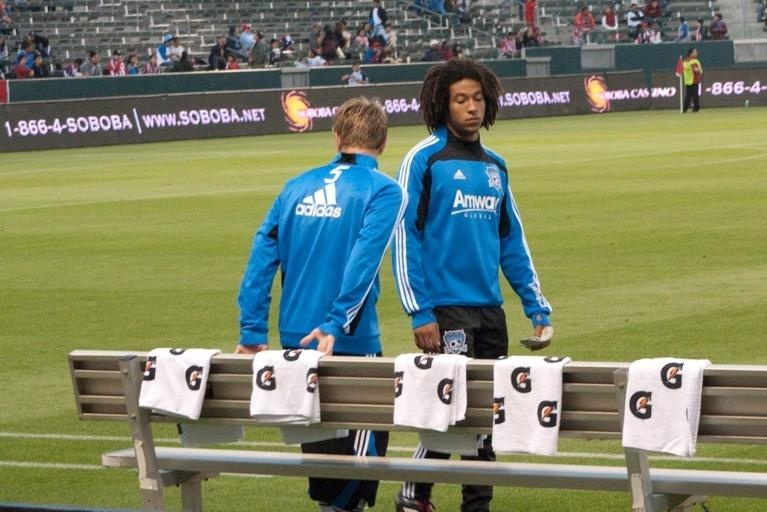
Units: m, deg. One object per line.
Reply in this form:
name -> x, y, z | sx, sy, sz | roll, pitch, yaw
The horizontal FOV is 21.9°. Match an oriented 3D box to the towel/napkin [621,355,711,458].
towel/napkin -> 4.892, 2.610, 34.764 | 1.560, 1.636, 0.577 | 3, 6, 5

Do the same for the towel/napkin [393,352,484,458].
towel/napkin -> 0.787, 2.544, 34.728 | 1.844, 1.647, 0.643 | 2, -4, 2

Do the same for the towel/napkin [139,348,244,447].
towel/napkin -> -3.652, 2.514, 35.959 | 1.879, 1.698, 0.635 | 9, -4, 1

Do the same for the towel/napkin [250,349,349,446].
towel/napkin -> -1.686, 2.496, 35.248 | 1.456, 1.694, 0.269 | -4, 8, 3
